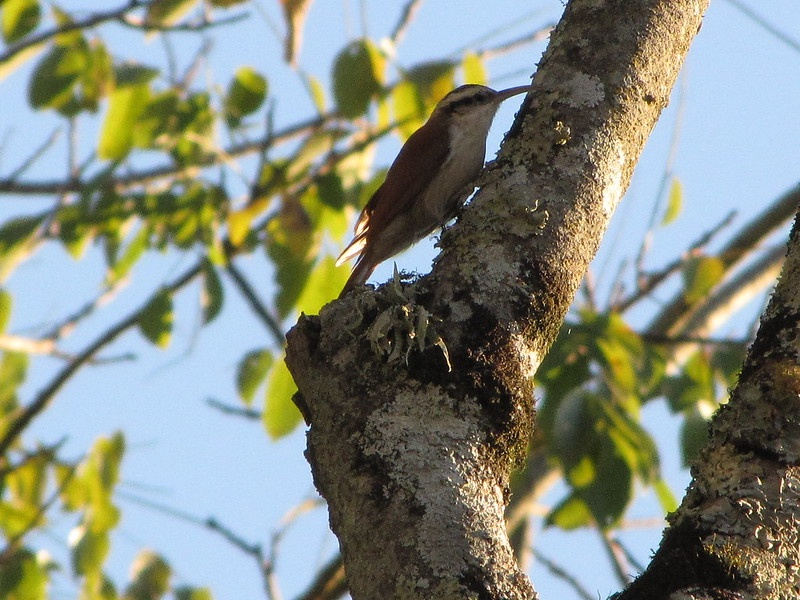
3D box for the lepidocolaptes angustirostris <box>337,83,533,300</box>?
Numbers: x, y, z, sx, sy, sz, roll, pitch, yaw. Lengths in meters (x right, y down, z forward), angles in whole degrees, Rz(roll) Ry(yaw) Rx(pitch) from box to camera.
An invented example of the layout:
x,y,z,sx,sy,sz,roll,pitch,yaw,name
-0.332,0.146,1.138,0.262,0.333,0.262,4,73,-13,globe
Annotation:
x,y,z,sx,sy,sz,roll,pitch,yaw,name
0.177,-0.464,7.183,1.054,0.526,0.323,-41,-21,21,lepidocolaptes angustirostris
